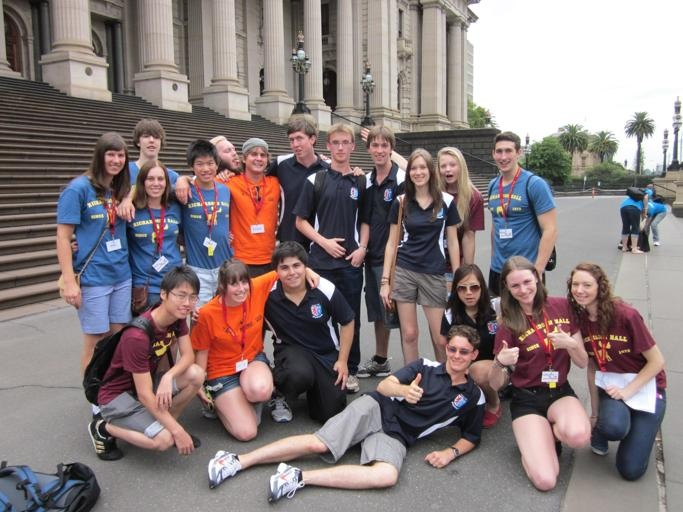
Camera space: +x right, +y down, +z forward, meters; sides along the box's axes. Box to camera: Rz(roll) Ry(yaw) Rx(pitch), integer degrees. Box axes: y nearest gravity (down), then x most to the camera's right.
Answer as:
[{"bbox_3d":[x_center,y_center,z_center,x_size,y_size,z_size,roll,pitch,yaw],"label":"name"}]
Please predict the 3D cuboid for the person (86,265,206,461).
[{"bbox_3d":[-1.805,0.965,5.133,0.984,1.778,0.838,6,11,10],"label":"person"}]

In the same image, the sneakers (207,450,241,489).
[{"bbox_3d":[-0.975,1.760,4.797,0.166,0.151,0.386,-10,9,-3],"label":"sneakers"}]

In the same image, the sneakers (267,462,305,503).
[{"bbox_3d":[-0.425,1.809,4.640,0.169,0.168,0.372,1,26,25],"label":"sneakers"}]

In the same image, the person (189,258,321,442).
[{"bbox_3d":[-0.807,0.960,5.509,0.902,1.399,1.153,22,24,41],"label":"person"}]

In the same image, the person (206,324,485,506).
[{"bbox_3d":[0.269,1.377,4.899,2.566,1.244,0.885,0,6,-29],"label":"person"}]

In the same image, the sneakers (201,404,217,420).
[{"bbox_3d":[-1.299,1.503,5.595,0.126,0.188,0.070,0,-5,23],"label":"sneakers"}]

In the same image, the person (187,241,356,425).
[{"bbox_3d":[-0.448,0.784,5.751,1.160,1.777,1.039,-11,10,-30],"label":"person"}]

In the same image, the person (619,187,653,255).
[{"bbox_3d":[7.286,-0.874,14.121,0.650,1.562,1.311,4,14,32],"label":"person"}]

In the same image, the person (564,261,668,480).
[{"bbox_3d":[2.358,0.959,4.960,0.787,1.710,0.605,6,15,39],"label":"person"}]

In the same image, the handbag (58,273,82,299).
[{"bbox_3d":[-2.561,0.284,5.422,0.118,0.299,0.260,2,-4,-37],"label":"handbag"}]

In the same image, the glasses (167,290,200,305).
[{"bbox_3d":[-1.374,0.365,4.996,0.226,0.166,0.079,-9,13,-24],"label":"glasses"}]

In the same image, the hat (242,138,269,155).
[{"bbox_3d":[-0.939,-1.233,6.398,0.243,0.177,0.259,2,6,7],"label":"hat"}]

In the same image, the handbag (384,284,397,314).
[{"bbox_3d":[0.532,0.481,6.172,0.176,0.269,0.081,-9,5,-43],"label":"handbag"}]

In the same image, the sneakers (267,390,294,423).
[{"bbox_3d":[-0.613,1.495,5.754,0.194,0.236,0.523,-1,7,-13],"label":"sneakers"}]

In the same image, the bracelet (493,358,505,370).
[{"bbox_3d":[1.412,0.965,5.079,0.091,0.101,0.083,0,12,15],"label":"bracelet"}]
